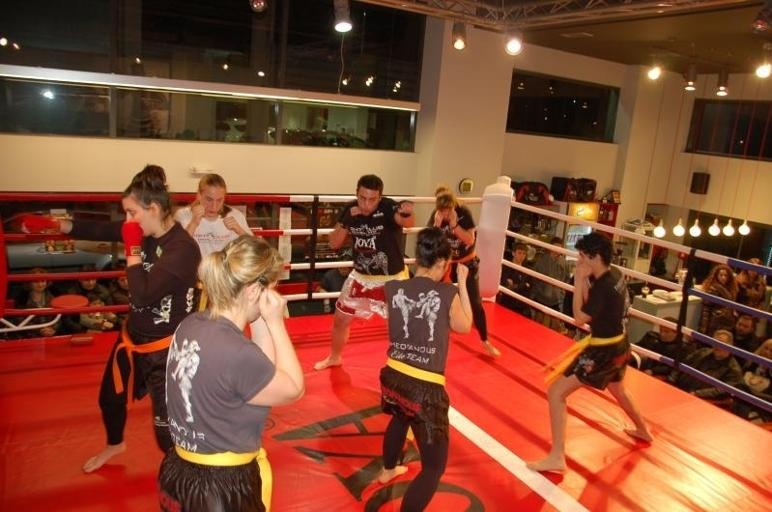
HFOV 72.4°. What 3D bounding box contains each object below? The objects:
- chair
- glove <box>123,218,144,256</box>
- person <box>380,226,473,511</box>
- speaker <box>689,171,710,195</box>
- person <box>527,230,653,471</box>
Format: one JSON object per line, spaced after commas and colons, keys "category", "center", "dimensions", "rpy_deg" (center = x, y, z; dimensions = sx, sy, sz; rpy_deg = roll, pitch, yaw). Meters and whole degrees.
{"category": "chair", "center": [3.003, 1.305, 4.933], "dimensions": [0.845, 0.180, 0.142], "rpy_deg": [22, -10, 45]}
{"category": "glove", "center": [-1.616, -0.114, 3.361], "dimensions": [0.136, 0.226, 0.082], "rpy_deg": [0, -14, -8]}
{"category": "person", "center": [0.233, 0.938, 3.516], "dimensions": [0.601, 1.680, 0.651], "rpy_deg": [2, 14, 8]}
{"category": "speaker", "center": [6.756, -1.563, 11.356], "dimensions": [0.113, 0.433, 0.434], "rpy_deg": [-3, 14, -22]}
{"category": "person", "center": [1.578, 0.717, 4.127], "dimensions": [1.094, 1.773, 0.411], "rpy_deg": [-5, 15, -22]}
